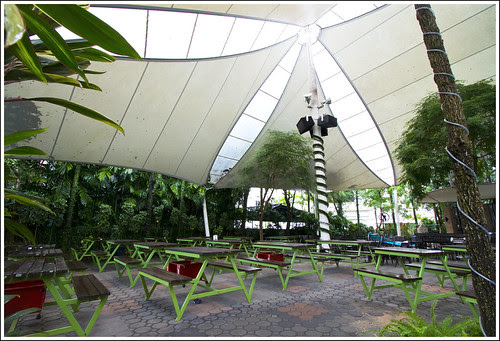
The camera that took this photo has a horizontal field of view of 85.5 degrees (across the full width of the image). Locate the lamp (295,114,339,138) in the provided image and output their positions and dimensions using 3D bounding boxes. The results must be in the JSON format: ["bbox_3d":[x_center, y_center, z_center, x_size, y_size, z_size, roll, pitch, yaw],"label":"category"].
[{"bbox_3d":[2.751,-1.882,11.134,1.166,0.487,1.138,0,-20,-7],"label":"lamp"}]

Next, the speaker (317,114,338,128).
[{"bbox_3d":[3.133,-1.904,11.175,0.617,0.547,0.602,14,-22,-32],"label":"speaker"}]

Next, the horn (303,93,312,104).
[{"bbox_3d":[2.420,-2.997,11.415,0.445,0.319,0.428,-19,23,-4],"label":"horn"}]
